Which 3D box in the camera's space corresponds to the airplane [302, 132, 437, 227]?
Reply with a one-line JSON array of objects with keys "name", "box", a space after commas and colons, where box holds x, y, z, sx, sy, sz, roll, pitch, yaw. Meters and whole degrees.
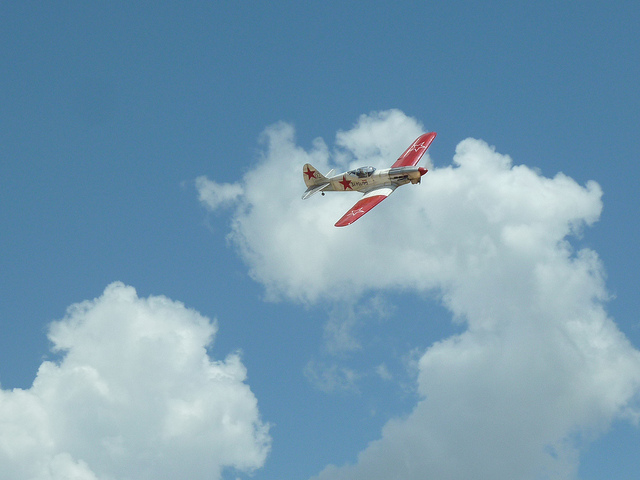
[{"name": "airplane", "box": [4.708, -6.227, 137.746, 9.605, 14.887, 3.041, 1, -52, 37]}]
